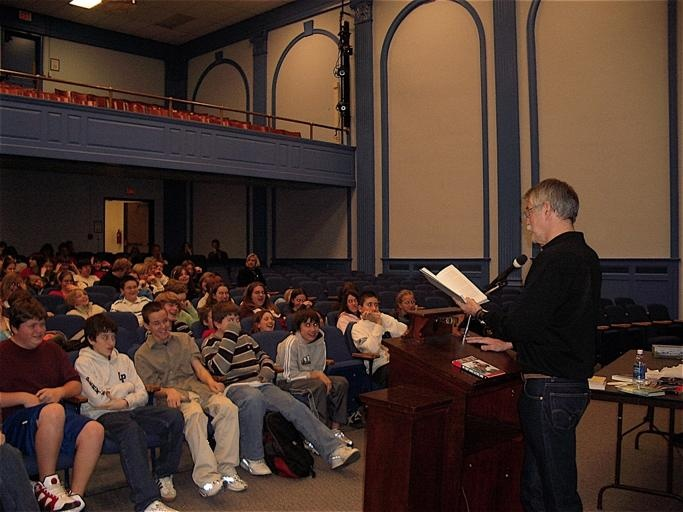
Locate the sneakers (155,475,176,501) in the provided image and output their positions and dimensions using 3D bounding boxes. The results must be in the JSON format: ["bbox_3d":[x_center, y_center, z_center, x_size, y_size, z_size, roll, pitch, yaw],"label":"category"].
[{"bbox_3d":[-1.173,1.563,4.083,0.130,0.140,0.128,-2,2,-22],"label":"sneakers"}]

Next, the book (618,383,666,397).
[{"bbox_3d":[1.826,0.814,3.685,0.261,0.039,0.191,-1,2,29],"label":"book"}]

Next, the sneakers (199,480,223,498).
[{"bbox_3d":[-0.861,1.542,4.018,0.171,0.078,0.080,-28,-47,31],"label":"sneakers"}]

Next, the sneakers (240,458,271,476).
[{"bbox_3d":[-0.613,1.518,4.415,0.243,0.108,0.094,-1,0,30],"label":"sneakers"}]

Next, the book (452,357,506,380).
[{"bbox_3d":[0.705,0.575,3.120,0.129,0.029,0.127,-2,14,-42],"label":"book"}]

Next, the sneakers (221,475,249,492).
[{"bbox_3d":[-0.731,1.557,4.159,0.177,0.085,0.080,1,2,27],"label":"sneakers"}]

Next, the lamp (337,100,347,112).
[{"bbox_3d":[-0.024,-3.035,12.222,0.216,0.239,0.237,1,3,44],"label":"lamp"}]

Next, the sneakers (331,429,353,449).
[{"bbox_3d":[-0.010,1.381,4.577,0.096,0.126,0.283,2,-10,-35],"label":"sneakers"}]

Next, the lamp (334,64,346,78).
[{"bbox_3d":[-0.004,-3.678,12.082,0.166,0.185,0.230,-3,3,-37],"label":"lamp"}]

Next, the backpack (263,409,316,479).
[{"bbox_3d":[-0.382,1.398,4.413,0.149,0.487,0.336,-23,-10,36],"label":"backpack"}]
